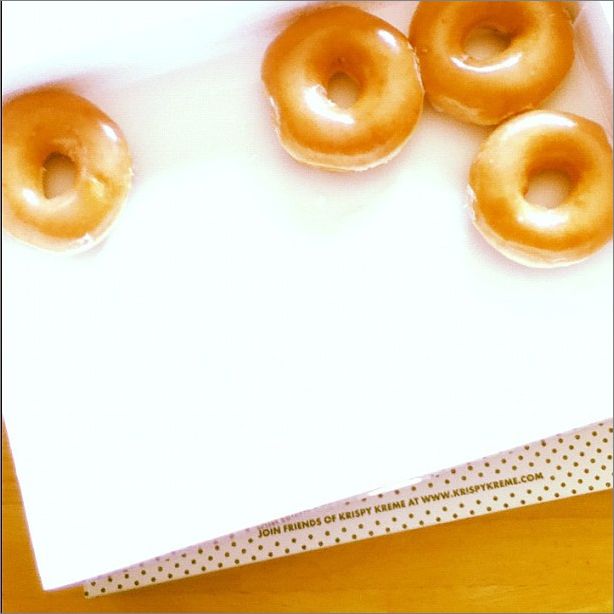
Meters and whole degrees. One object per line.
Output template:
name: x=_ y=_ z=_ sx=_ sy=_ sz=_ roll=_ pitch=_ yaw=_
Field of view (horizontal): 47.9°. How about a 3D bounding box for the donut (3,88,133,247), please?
donut: x=-0.324 y=-0.185 z=0.923 sx=0.164 sy=0.203 sz=0.091 roll=-5 pitch=-14 yaw=-27
